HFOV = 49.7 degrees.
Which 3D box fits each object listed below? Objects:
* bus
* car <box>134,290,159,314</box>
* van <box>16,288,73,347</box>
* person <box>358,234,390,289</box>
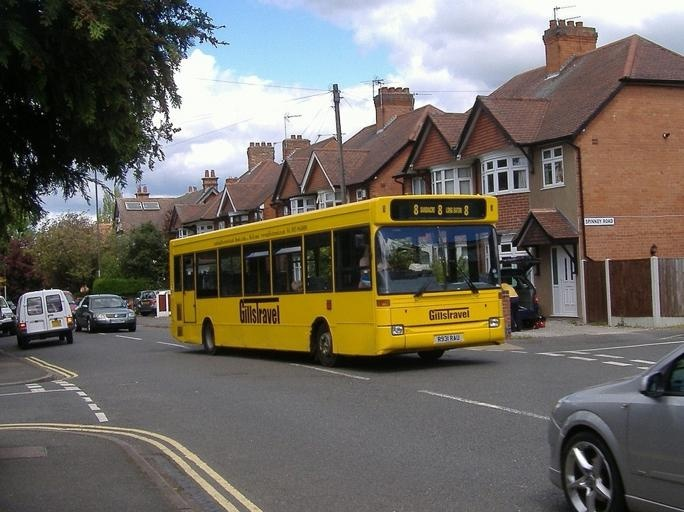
[{"bbox_3d":[-1.438,0.928,20.392,3.177,3.761,12.433,1,-5,-41],"label":"bus"},{"bbox_3d":[-15.459,3.578,58.249,1.492,1.192,2.210,2,-9,-32],"label":"car"},{"bbox_3d":[-12.243,2.462,30.377,1.521,1.689,2.819,-2,0,-21],"label":"van"},{"bbox_3d":[0.668,0.123,15.699,0.569,1.127,0.235,-2,-2,33],"label":"person"}]
